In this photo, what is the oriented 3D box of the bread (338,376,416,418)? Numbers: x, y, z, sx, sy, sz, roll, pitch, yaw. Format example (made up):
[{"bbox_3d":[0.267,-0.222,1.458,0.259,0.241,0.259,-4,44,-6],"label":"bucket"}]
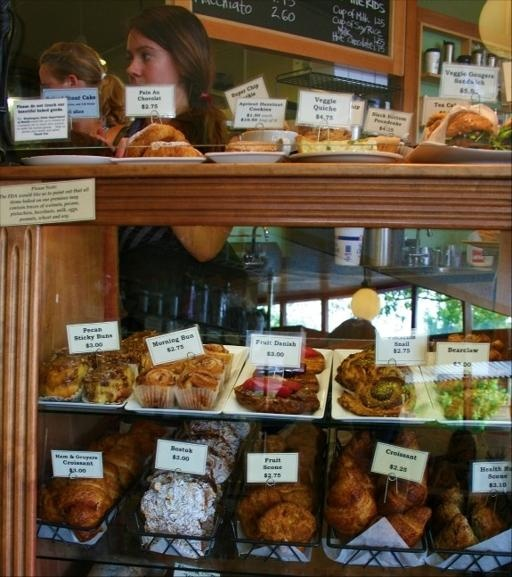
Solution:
[{"bbox_3d":[0.258,0.229,1.054,0.128,0.036,0.087,-4,10,4],"label":"bread"}]

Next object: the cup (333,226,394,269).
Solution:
[{"bbox_3d":[0.219,-0.084,1.012,0.099,0.074,0.084,1,12,6],"label":"cup"}]

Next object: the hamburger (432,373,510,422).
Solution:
[{"bbox_3d":[0.439,0.219,1.037,0.130,0.034,0.091,1,2,44],"label":"hamburger"}]

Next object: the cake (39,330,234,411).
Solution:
[{"bbox_3d":[-0.242,0.179,1.081,0.319,0.036,0.189,3,25,6],"label":"cake"}]

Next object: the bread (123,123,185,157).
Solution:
[{"bbox_3d":[-0.209,-0.315,1.082,0.097,0.034,0.114,3,22,43],"label":"bread"}]

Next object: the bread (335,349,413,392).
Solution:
[{"bbox_3d":[0.245,0.167,1.072,0.124,0.045,0.099,0,2,-16],"label":"bread"}]

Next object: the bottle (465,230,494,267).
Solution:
[{"bbox_3d":[0.436,-0.075,0.975,0.052,0.072,0.024,2,10,16],"label":"bottle"}]

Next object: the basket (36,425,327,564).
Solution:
[{"bbox_3d":[-0.148,0.438,1.084,0.555,0.077,0.317,0,13,2],"label":"basket"}]
